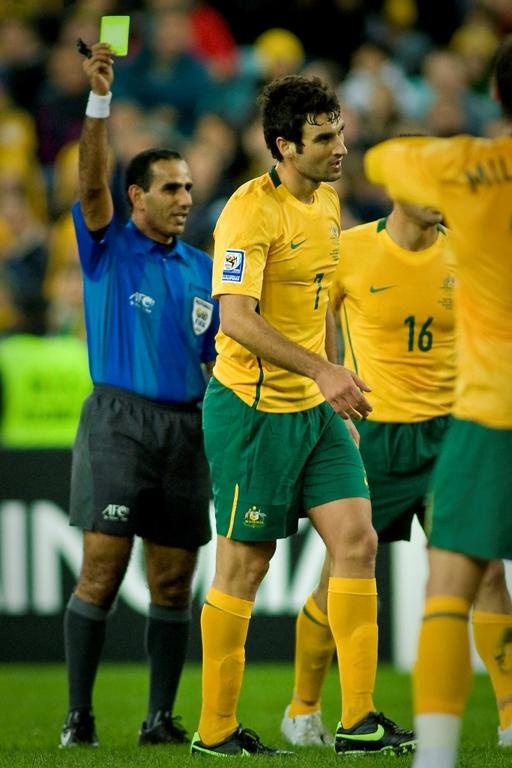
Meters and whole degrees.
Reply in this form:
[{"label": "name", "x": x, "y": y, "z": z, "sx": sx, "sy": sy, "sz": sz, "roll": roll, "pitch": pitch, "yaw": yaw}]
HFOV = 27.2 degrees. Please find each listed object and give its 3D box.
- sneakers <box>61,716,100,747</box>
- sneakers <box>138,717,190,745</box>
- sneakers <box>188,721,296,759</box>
[{"label": "sneakers", "x": -0.579, "y": 1.147, "z": 3.490, "sx": 0.125, "sy": 0.103, "sz": 0.147, "roll": 3, "pitch": 6, "yaw": -8}, {"label": "sneakers", "x": -0.315, "y": 1.200, "z": 3.632, "sx": 0.221, "sy": 0.085, "sz": 0.071, "roll": 1, "pitch": 6, "yaw": -23}, {"label": "sneakers", "x": -0.053, "y": 1.112, "z": 3.296, "sx": 0.347, "sy": 0.123, "sz": 0.112, "roll": 1, "pitch": -3, "yaw": -6}]
